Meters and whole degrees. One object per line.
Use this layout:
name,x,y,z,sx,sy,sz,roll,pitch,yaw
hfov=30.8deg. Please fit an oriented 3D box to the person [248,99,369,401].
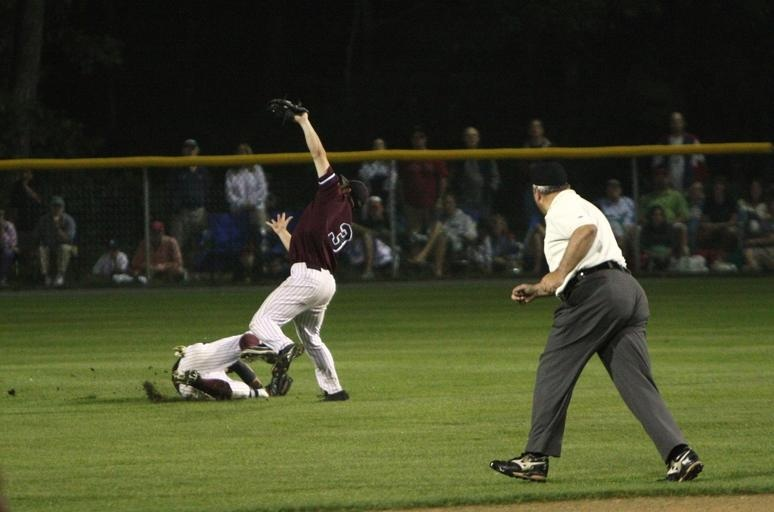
person,-0.989,-0.054,17.531,1.325,3.781,0.842,-2,0,-2

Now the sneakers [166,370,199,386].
sneakers,-2.511,1.528,17.368,0.340,0.182,0.106,-1,0,15

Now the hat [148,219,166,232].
hat,-3.061,-0.399,18.647,0.179,0.109,0.161,9,16,8

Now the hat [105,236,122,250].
hat,-3.628,-0.151,18.544,0.193,0.145,0.041,-6,0,-25

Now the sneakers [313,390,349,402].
sneakers,-0.722,1.785,17.616,0.404,0.134,0.132,1,1,1

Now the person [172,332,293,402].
person,-1.923,1.532,17.763,1.618,0.593,1.158,3,11,14

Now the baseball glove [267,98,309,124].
baseball glove,-1.301,-1.787,17.294,0.604,0.229,0.422,3,11,4

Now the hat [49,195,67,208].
hat,-4.348,-0.704,18.485,0.176,0.181,0.061,-1,0,-14
